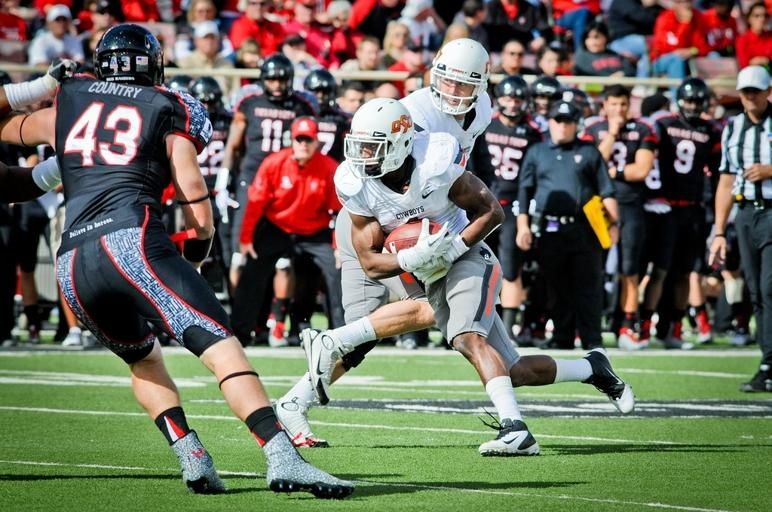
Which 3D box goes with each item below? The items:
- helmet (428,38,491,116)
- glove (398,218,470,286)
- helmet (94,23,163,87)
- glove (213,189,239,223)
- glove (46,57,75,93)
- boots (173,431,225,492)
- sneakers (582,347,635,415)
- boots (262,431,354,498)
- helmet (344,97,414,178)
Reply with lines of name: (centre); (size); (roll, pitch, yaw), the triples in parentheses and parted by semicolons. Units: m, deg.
helmet: (0.557, -1.360, 7.325); (0.457, 0.558, 0.501); (18, -38, 12)
glove: (0.299, 0.006, 6.139); (0.328, 0.230, 0.445); (23, 37, -16)
helmet: (-1.552, -1.196, 5.678); (0.318, 0.345, 0.419); (6, 6, 11)
glove: (-1.881, -0.585, 11.146); (0.286, 0.393, 0.118); (0, 24, 6)
glove: (-1.935, -1.092, 5.679); (0.144, 0.154, 0.174); (32, -14, -14)
boots: (-1.069, 1.168, 5.319); (0.320, 0.317, 0.160); (4, 4, 18)
sneakers: (1.785, 1.027, 7.596); (0.236, 0.519, 0.185); (-44, -2, -46)
boots: (-0.500, 1.167, 5.220); (0.586, 0.405, 0.247); (3, -11, -12)
helmet: (0.010, -0.805, 6.195); (0.399, 0.409, 0.519); (7, 30, 34)
